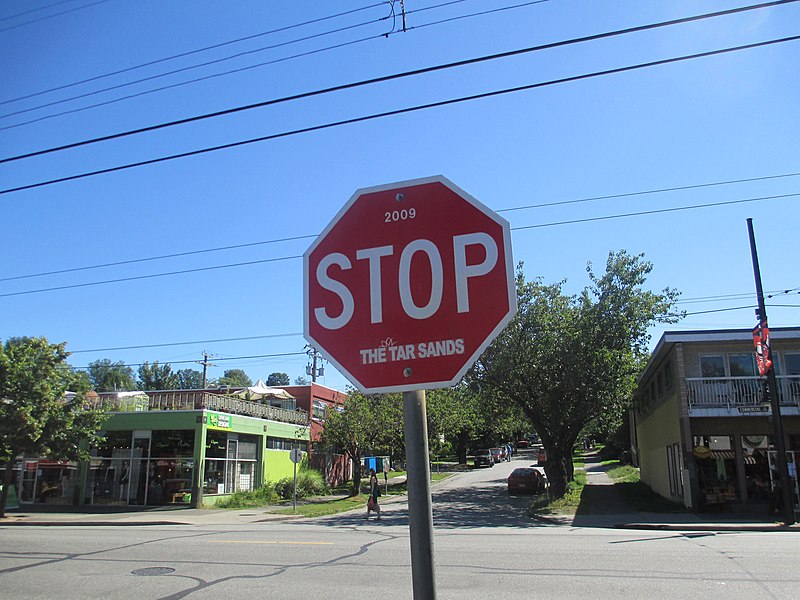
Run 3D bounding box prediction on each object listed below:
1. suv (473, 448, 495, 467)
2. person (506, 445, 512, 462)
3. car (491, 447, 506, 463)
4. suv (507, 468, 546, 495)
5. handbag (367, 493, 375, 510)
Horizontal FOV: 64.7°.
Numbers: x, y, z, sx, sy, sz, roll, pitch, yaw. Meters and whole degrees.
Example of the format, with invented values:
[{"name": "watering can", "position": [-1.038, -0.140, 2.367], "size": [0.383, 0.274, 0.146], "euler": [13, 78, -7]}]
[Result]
[{"name": "suv", "position": [8.173, 15.655, 62.198], "size": [1.588, 1.718, 2.354], "euler": [-8, -15, 18]}, {"name": "person", "position": [12.543, 17.833, 73.273], "size": [0.896, 1.710, 0.485], "euler": [3, 2, 10]}, {"name": "car", "position": [10.354, 16.401, 66.804], "size": [1.388, 1.226, 2.527], "euler": [-4, -23, 5]}, {"name": "suv", "position": [7.525, 10.926, 37.970], "size": [2.445, 1.429, 1.556], "euler": [0, -15, -12]}, {"name": "handbag", "position": [-1.217, 8.455, 26.310], "size": [0.242, 0.578, 0.476], "euler": [-1, -14, -5]}]
